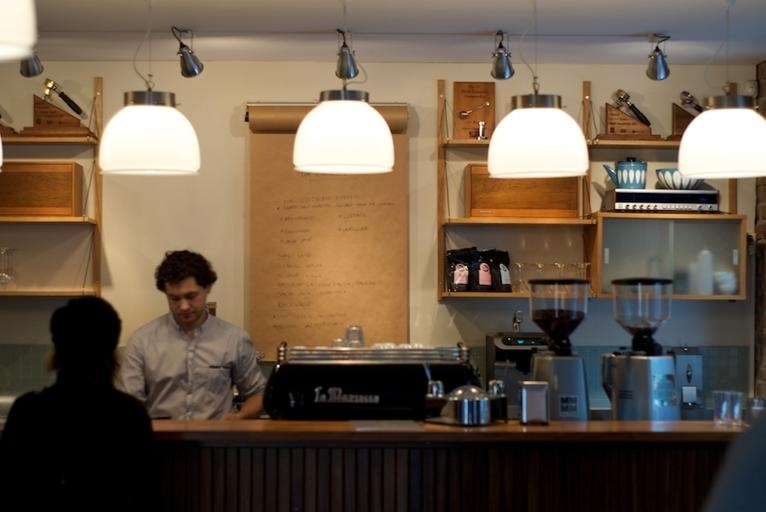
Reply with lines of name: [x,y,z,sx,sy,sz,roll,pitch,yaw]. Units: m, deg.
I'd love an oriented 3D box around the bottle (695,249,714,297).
bottle: [2.465,0.160,7.086,0.139,0.377,0.142,-16,23,7]

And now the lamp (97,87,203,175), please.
lamp: [-1.299,-0.685,5.177,0.591,0.439,0.601,1,4,18]

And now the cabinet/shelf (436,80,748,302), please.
cabinet/shelf: [1.430,-0.411,6.649,1.693,1.341,0.501,1,-2,-1]

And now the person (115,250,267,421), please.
person: [-1.242,0.618,5.902,0.893,1.252,0.674,-1,4,-7]

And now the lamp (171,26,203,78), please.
lamp: [-1.467,-1.519,6.952,0.239,0.403,0.573,0,-1,-12]

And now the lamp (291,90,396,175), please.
lamp: [-0.196,-0.686,5.124,0.602,0.424,0.607,0,4,-10]

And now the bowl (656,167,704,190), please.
bowl: [2.092,-0.548,6.523,0.219,0.095,0.223,0,-4,0]

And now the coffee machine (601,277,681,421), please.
coffee machine: [1.472,0.527,5.314,0.426,0.803,0.412,0,-1,14]

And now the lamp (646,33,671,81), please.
lamp: [2.030,-1.487,6.880,0.226,0.309,0.228,-3,15,-3]

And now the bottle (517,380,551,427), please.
bottle: [0.816,0.781,4.995,0.157,0.221,0.156,0,-1,0]

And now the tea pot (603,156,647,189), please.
tea pot: [1.870,-0.647,7.178,0.313,0.262,0.292,0,-1,0]

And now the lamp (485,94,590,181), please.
lamp: [0.857,-0.660,5.171,0.591,0.445,0.588,-1,5,-8]

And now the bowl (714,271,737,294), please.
bowl: [2.608,0.190,7.055,0.169,0.167,0.163,1,1,0]

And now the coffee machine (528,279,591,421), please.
coffee machine: [0.993,0.518,5.230,0.327,0.782,0.329,0,-1,11]

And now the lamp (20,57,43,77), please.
lamp: [-2.576,-1.404,6.787,0.139,0.149,0.414,0,-1,-26]
